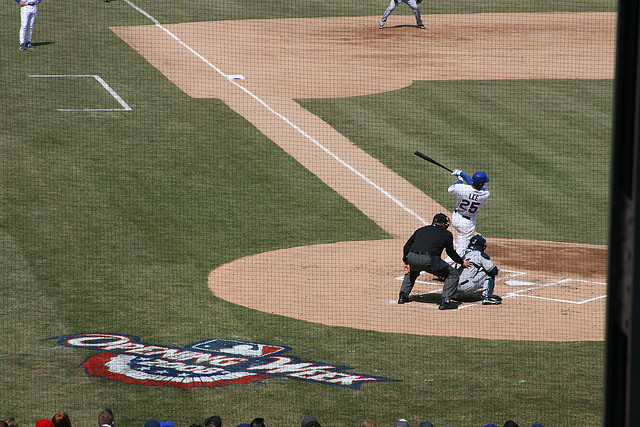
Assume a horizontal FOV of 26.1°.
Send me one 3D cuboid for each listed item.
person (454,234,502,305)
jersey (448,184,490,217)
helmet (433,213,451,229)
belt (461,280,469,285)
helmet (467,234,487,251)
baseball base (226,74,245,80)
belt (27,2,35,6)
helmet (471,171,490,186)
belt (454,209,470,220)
[{"bbox_3d":[3.748,1.316,33.745,1.288,1.437,1.287,2,7,-37],"label":"person"},{"bbox_3d":[3.700,-0.355,34.912,1.273,0.801,0.522,14,26,1],"label":"jersey"},{"bbox_3d":[2.909,0.124,33.644,0.476,0.355,0.345,-10,19,-36],"label":"helmet"},{"bbox_3d":[3.430,1.613,33.344,0.177,0.112,0.011,2,5,-3],"label":"belt"},{"bbox_3d":[3.780,0.649,33.552,0.447,0.326,0.329,-10,35,-24],"label":"helmet"},{"bbox_3d":[-2.745,-4.438,44.721,0.580,0.144,0.346,2,4,-4],"label":"baseball base"},{"bbox_3d":[-9.241,-6.742,44.526,0.216,0.084,0.048,2,5,-9],"label":"belt"},{"bbox_3d":[4.004,-0.904,34.629,0.516,0.240,0.321,-18,43,-21],"label":"helmet"},{"bbox_3d":[3.529,-0.018,34.894,0.236,0.192,0.219,23,-3,4],"label":"belt"}]
